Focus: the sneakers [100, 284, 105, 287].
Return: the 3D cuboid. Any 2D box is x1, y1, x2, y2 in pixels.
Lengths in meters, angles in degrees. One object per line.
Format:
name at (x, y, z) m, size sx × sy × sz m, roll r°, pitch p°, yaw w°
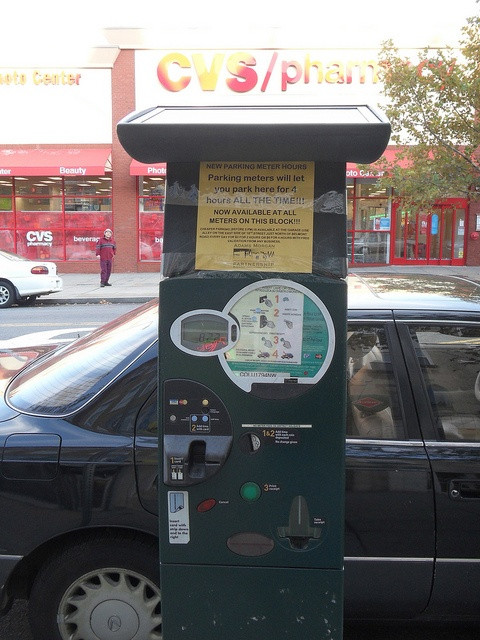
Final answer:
sneakers at (-4.162, -1.049, 16.351) m, size 0.118 × 0.104 × 0.114 m, roll -1°, pitch -5°, yaw 0°
